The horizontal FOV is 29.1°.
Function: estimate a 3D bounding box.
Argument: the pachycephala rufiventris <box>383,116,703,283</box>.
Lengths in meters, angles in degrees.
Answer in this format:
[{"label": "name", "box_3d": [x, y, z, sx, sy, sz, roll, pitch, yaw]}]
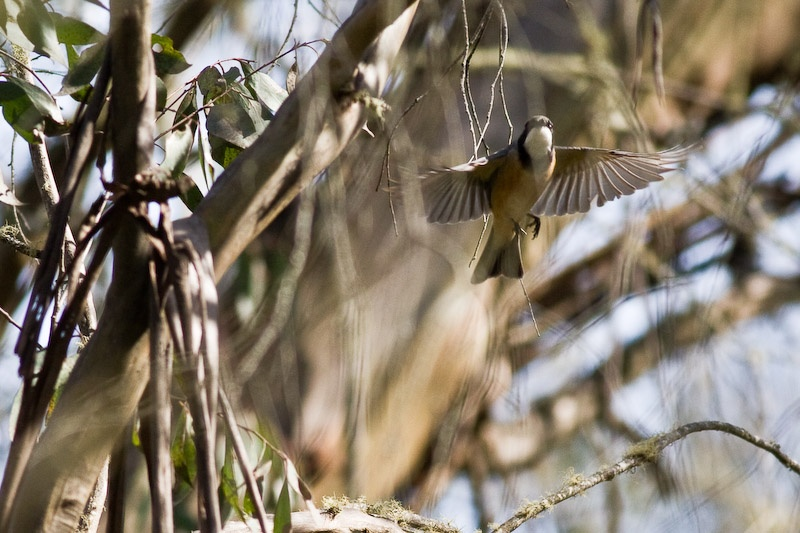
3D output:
[{"label": "pachycephala rufiventris", "box_3d": [0.317, -0.189, 4.289, 0.899, 0.421, 0.606, -2, -3, -14]}]
